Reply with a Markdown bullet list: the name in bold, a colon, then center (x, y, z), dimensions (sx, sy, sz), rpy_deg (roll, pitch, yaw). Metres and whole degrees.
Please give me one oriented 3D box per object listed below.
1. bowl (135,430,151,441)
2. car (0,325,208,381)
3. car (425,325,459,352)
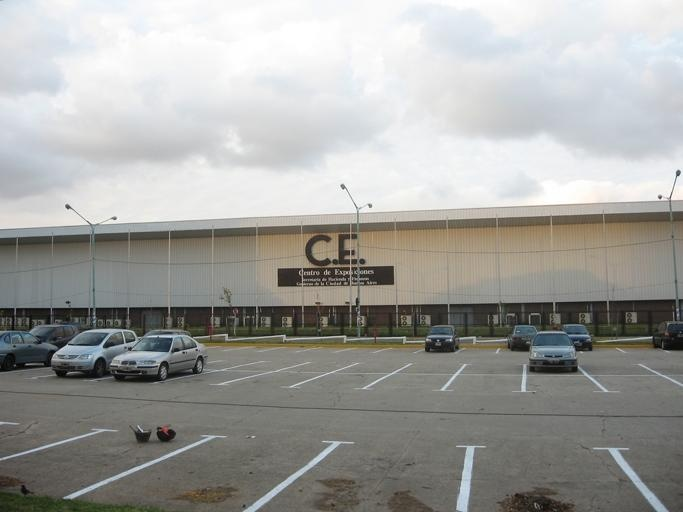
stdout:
- **bowl**: center (-4.175, 3.752, 13.089), dimensions (0.290, 0.242, 0.419), rpy_deg (1, -7, -21)
- **car**: center (-8.134, 3.707, 24.107), dimensions (4.282, 1.931, 3.442), rpy_deg (-4, -7, 20)
- **car**: center (5.937, 4.881, 37.143), dimensions (1.601, 1.508, 2.325), rpy_deg (-4, -7, 22)
